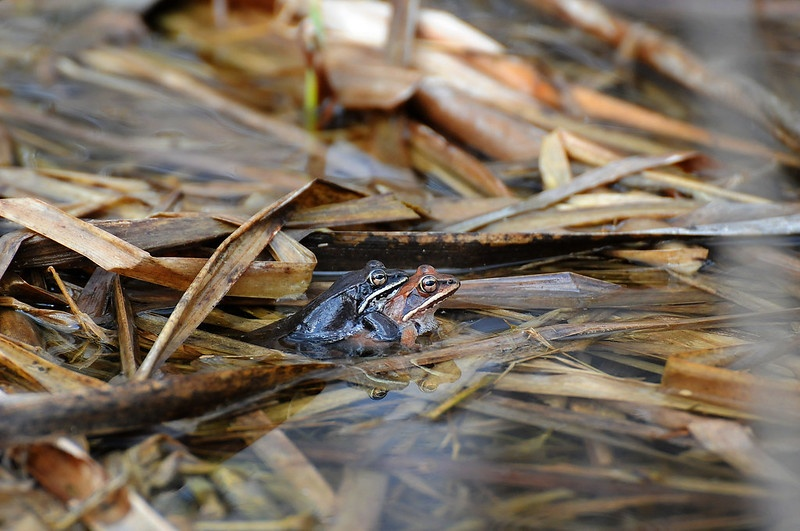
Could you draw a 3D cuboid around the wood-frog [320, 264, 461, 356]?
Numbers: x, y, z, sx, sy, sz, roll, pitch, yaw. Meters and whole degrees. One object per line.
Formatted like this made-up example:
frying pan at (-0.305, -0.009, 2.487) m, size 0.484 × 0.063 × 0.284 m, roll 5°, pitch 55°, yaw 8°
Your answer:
wood-frog at (0.047, 0.174, 2.858) m, size 0.621 × 0.187 × 0.274 m, roll -12°, pitch 34°, yaw 6°
